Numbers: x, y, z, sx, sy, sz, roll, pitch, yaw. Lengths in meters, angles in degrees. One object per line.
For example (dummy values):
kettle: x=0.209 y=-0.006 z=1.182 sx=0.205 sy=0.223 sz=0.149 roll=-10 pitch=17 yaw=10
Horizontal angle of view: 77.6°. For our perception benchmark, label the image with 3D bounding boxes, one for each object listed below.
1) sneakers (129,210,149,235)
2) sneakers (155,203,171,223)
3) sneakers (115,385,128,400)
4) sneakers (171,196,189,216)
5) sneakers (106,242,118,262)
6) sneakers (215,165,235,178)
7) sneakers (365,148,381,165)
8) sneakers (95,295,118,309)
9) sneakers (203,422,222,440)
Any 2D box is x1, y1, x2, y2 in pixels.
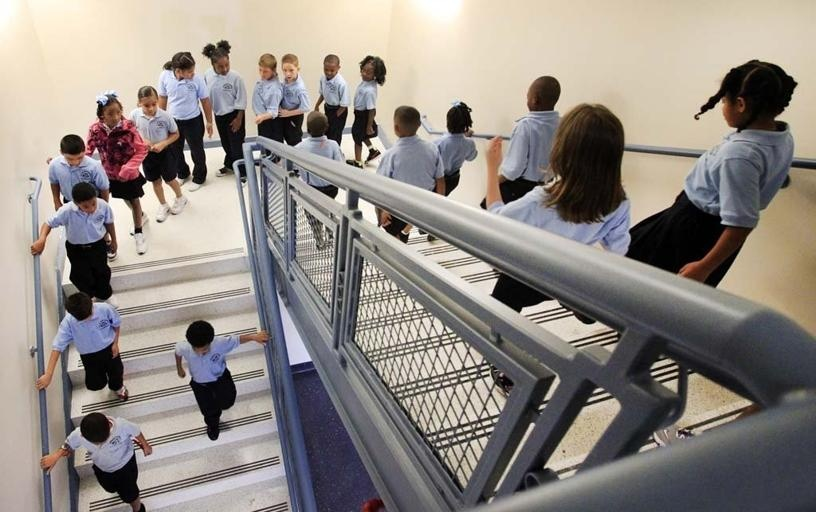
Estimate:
sneakers: x=-3.155 y=-0.375 z=5.874 sx=0.110 sy=0.178 sz=0.278 roll=14 pitch=62 yaw=-7
sneakers: x=-2.998 y=-0.523 z=6.139 sx=0.102 sy=0.122 sz=0.281 roll=-8 pitch=37 yaw=3
sneakers: x=-2.887 y=1.354 z=5.059 sx=0.059 sy=0.084 sz=0.215 roll=30 pitch=-6 yaw=-33
sneakers: x=-2.875 y=-0.623 z=6.301 sx=0.114 sy=0.127 sz=0.306 roll=3 pitch=42 yaw=22
sneakers: x=-3.208 y=-0.043 z=5.419 sx=0.068 sy=0.183 sz=0.124 roll=-11 pitch=-10 yaw=-25
sneakers: x=-2.568 y=-1.174 z=7.058 sx=0.289 sy=0.133 sz=0.121 roll=-5 pitch=46 yaw=-15
sneakers: x=-0.560 y=-1.491 z=7.535 sx=0.120 sy=0.220 sz=0.354 roll=-28 pitch=21 yaw=-12
sneakers: x=-3.078 y=0.459 z=5.100 sx=0.222 sy=0.073 sz=0.086 roll=18 pitch=-14 yaw=-20
sneakers: x=-2.002 y=1.753 z=5.087 sx=0.109 sy=0.206 sz=0.086 roll=3 pitch=13 yaw=-9
